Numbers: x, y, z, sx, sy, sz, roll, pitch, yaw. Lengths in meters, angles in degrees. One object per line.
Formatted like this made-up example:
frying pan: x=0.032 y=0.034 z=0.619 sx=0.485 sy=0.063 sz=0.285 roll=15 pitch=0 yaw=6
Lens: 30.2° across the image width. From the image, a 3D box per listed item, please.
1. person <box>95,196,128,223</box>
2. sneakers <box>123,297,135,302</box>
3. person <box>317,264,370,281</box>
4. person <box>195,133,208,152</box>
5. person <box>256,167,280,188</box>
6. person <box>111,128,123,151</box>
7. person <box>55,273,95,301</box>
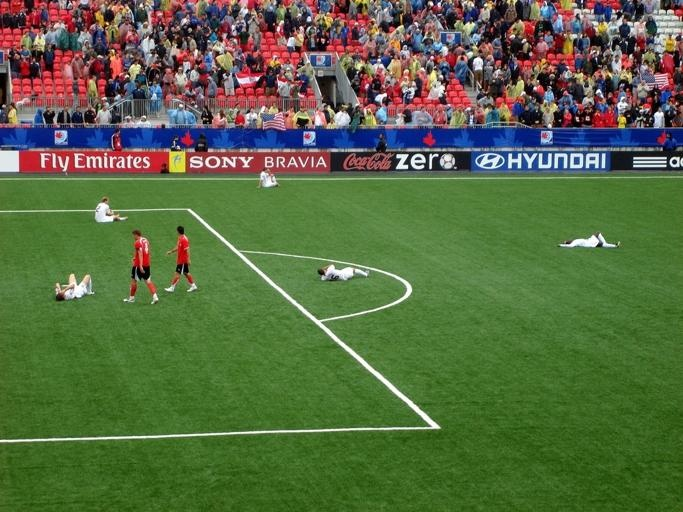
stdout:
person: x=-8.570 y=-1.640 z=46.471 sx=0.890 sy=1.013 sz=1.268 roll=18 pitch=21 yaw=40
sneakers: x=-6.095 y=1.245 z=36.204 sx=0.356 sy=0.154 sz=0.122 roll=6 pitch=11 yaw=21
person: x=-0.046 y=0.555 z=38.948 sx=1.070 sy=0.427 sz=0.659 roll=-9 pitch=0 yaw=-35
person: x=-6.606 y=-5.365 z=59.658 sx=0.678 sy=1.309 sz=0.388 roll=6 pitch=28 yaw=-1
person: x=-3.221 y=-3.421 z=55.537 sx=0.808 sy=0.784 sz=0.626 roll=-4 pitch=10 yaw=-21
person: x=-10.500 y=-5.410 z=58.936 sx=0.474 sy=1.013 sz=0.455 roll=-2 pitch=10 yaw=-11
person: x=-7.721 y=0.941 z=36.673 sx=0.618 sy=0.519 sz=1.223 roll=3 pitch=13 yaw=17
